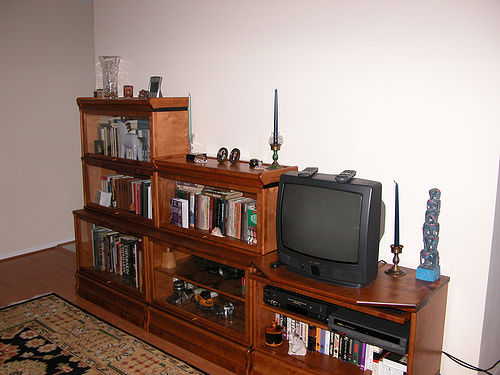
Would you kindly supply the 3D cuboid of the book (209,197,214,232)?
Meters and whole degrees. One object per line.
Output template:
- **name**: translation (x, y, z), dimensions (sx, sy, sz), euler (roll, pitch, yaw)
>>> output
- **book**: translation (-0.306, 0.221, 3.255), dimensions (0.035, 0.276, 0.053), euler (2, 13, -1)

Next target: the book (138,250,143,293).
- **book**: translation (-0.945, 0.734, 3.533), dimensions (0.031, 0.361, 0.115), euler (-2, 13, -15)

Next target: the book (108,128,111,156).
- **book**: translation (-1.313, -0.426, 3.834), dimensions (0.020, 0.249, 0.048), euler (-8, 16, -36)

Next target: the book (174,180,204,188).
- **book**: translation (-0.513, -0.019, 3.387), dimensions (0.118, 0.025, 0.115), euler (13, 8, 30)

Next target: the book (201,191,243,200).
- **book**: translation (-0.236, 0.067, 3.234), dimensions (0.341, 0.048, 0.085), euler (5, 12, 16)

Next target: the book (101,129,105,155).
- **book**: translation (-1.398, -0.435, 3.896), dimensions (0.030, 0.274, 0.224), euler (-4, 11, -18)

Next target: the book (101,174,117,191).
- **book**: translation (-1.351, -0.040, 3.952), dimensions (0.146, 0.137, 0.106), euler (-3, 10, -32)

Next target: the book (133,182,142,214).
- **book**: translation (-1.011, 0.100, 3.654), dimensions (0.092, 0.283, 0.041), euler (14, 18, 43)

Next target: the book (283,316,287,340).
- **book**: translation (0.249, 1.025, 2.940), dimensions (0.026, 0.168, 0.045), euler (1, 13, -3)

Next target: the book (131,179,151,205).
- **book**: translation (-0.996, 0.055, 3.817), dimensions (0.200, 0.240, 0.258), euler (-1, 12, -13)

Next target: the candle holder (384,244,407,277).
- **candle holder**: translation (0.939, 0.474, 2.661), dimensions (0.202, 0.199, 0.188), euler (0, 4, 8)

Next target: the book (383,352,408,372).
- **book**: translation (0.888, 1.065, 2.485), dimensions (0.107, 0.023, 0.105), euler (8, 11, 37)

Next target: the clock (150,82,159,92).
- **clock**: translation (-0.829, -0.873, 3.560), dimensions (0.097, 0.083, 0.048), euler (8, 10, 38)

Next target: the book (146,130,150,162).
- **book**: translation (-0.867, -0.348, 3.484), dimensions (0.029, 0.267, 0.087), euler (-2, 13, -17)

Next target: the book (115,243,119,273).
- **book**: translation (-1.231, 0.666, 3.790), dimensions (0.021, 0.282, 0.064), euler (-5, 15, -29)

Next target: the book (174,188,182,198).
- **book**: translation (-0.603, 0.054, 3.443), dimensions (0.039, 0.065, 0.074), euler (-8, 14, -39)

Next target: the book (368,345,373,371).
- **book**: translation (0.762, 1.096, 2.601), dimensions (0.040, 0.163, 0.022), euler (11, 16, 36)

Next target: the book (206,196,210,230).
- **book**: translation (-0.338, 0.218, 3.281), dimensions (0.029, 0.268, 0.056), euler (0, 13, -9)

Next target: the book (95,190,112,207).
- **book**: translation (-1.411, 0.114, 3.924), dimensions (0.166, 0.149, 0.039), euler (17, 11, 31)

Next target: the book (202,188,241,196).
- **book**: translation (-0.260, 0.042, 3.233), dimensions (0.119, 0.026, 0.117), euler (12, 13, 41)

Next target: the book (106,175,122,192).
- **book**: translation (-1.311, -0.024, 3.914), dimensions (0.098, 0.121, 0.131), euler (6, 10, 28)

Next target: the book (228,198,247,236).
- **book**: translation (-0.095, 0.236, 3.120), dimensions (0.036, 0.293, 0.236), euler (7, 14, 14)

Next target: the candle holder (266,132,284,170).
- **candle holder**: translation (0.192, -0.277, 3.074), dimensions (0.131, 0.273, 0.281), euler (3, 12, 4)

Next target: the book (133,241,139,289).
- **book**: translation (-0.997, 0.688, 3.582), dimensions (0.047, 0.413, 0.149), euler (-5, 14, -28)

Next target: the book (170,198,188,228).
- **book**: translation (-0.582, 0.219, 3.386), dimensions (0.090, 0.211, 0.233), euler (-12, 16, -43)

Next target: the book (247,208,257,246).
- **book**: translation (0.011, 0.296, 3.019), dimensions (0.058, 0.262, 0.131), euler (1, 13, -4)

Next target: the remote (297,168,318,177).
- **remote**: translation (0.382, -0.094, 2.706), dimensions (0.063, 0.016, 0.117), euler (3, 19, 20)

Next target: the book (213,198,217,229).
- **book**: translation (-0.276, 0.207, 3.230), dimensions (0.029, 0.231, 0.051), euler (1, 13, -4)

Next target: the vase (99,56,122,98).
- **vase**: translation (-1.362, -1.090, 3.986), dimensions (0.197, 0.431, 0.514), euler (-2, 12, -18)

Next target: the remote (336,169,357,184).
- **remote**: translation (0.608, -0.066, 2.577), dimensions (0.074, 0.032, 0.127), euler (5, 18, 30)

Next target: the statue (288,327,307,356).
- **statue**: translation (0.321, 1.086, 2.813), dimensions (0.126, 0.137, 0.103), euler (4, 3, 5)

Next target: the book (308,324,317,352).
- **book**: translation (0.422, 1.053, 2.816), dimensions (0.077, 0.174, 0.044), euler (8, 14, 26)

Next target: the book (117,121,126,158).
- **book**: translation (-1.163, -0.445, 3.710), dimensions (0.039, 0.347, 0.282), euler (-6, 16, -33)

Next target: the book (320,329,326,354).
- **book**: translation (0.493, 1.063, 2.785), dimensions (0.038, 0.167, 0.027), euler (7, 14, 21)

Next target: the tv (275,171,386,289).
- **tv**: translation (0.495, 0.115, 2.883), dimensions (0.938, 0.828, 0.690), euler (8, 12, 38)

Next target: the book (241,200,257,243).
- **book**: translation (-0.020, 0.265, 3.082), dimensions (0.106, 0.300, 0.114), euler (2, 13, 1)

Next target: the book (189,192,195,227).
- **book**: translation (-0.473, 0.191, 3.358), dimensions (0.055, 0.270, 0.045), euler (6, 13, 17)
